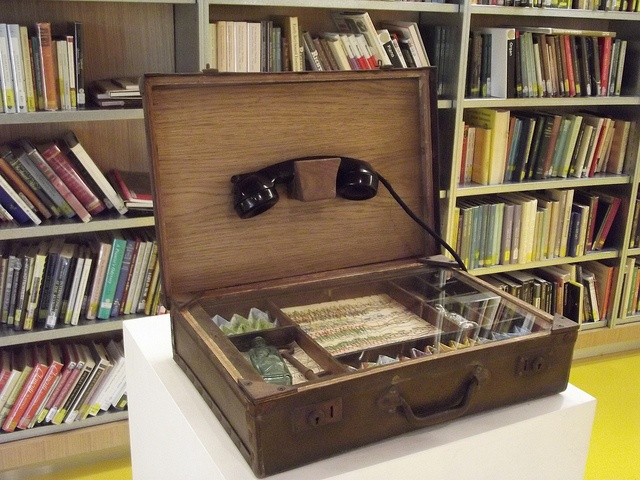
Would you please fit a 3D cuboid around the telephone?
[{"bbox_3d":[-0.038,-0.169,1.343,0.444,0.138,0.124,-8,9,-36],"label":"telephone"}]
